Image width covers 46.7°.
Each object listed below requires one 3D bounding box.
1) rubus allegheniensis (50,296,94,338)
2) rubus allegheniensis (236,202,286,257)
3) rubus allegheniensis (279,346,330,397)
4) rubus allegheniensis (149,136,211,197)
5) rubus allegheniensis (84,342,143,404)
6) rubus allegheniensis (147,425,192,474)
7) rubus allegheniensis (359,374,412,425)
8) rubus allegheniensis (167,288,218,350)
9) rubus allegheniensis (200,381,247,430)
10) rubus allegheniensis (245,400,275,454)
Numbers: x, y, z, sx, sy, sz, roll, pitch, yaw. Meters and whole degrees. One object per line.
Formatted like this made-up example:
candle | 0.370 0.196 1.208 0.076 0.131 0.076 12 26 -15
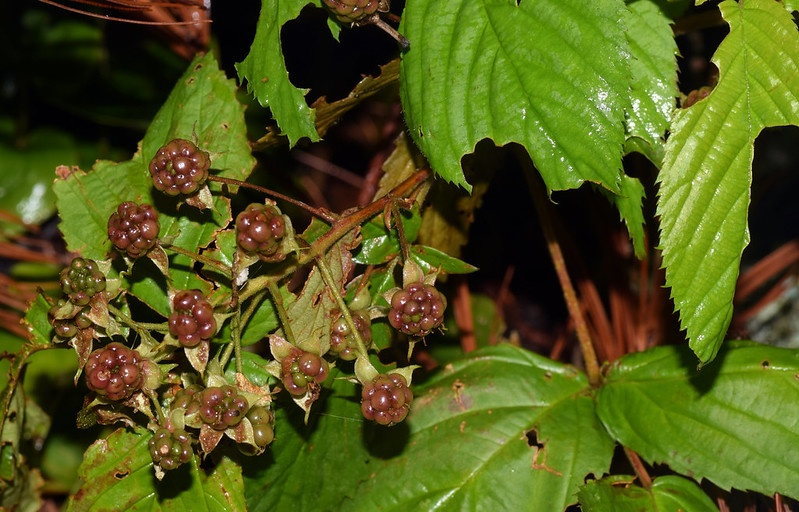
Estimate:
rubus allegheniensis | -1.042 0.203 2.922 0.129 0.136 0.039 -9 21 8
rubus allegheniensis | -0.406 -0.116 2.877 0.190 0.191 0.102 1 -3 -15
rubus allegheniensis | -0.303 0.353 2.909 0.112 0.144 0.079 -47 -22 0
rubus allegheniensis | -0.692 -0.276 2.914 0.157 0.177 0.102 0 0 -5
rubus allegheniensis | -0.887 0.396 2.885 0.182 0.259 0.124 -2 -27 -20
rubus allegheniensis | -0.702 0.587 2.879 0.108 0.138 0.092 -32 -2 8
rubus allegheniensis | -0.030 0.419 2.885 0.116 0.175 0.081 7 2 5
rubus allegheniensis | -0.649 0.187 2.923 0.126 0.178 0.095 -34 0 -1
rubus allegheniensis | -0.548 0.462 2.871 0.127 0.122 0.059 -52 2 -4
rubus allegheniensis | -0.434 0.542 2.921 0.075 0.153 0.065 -16 -13 9
